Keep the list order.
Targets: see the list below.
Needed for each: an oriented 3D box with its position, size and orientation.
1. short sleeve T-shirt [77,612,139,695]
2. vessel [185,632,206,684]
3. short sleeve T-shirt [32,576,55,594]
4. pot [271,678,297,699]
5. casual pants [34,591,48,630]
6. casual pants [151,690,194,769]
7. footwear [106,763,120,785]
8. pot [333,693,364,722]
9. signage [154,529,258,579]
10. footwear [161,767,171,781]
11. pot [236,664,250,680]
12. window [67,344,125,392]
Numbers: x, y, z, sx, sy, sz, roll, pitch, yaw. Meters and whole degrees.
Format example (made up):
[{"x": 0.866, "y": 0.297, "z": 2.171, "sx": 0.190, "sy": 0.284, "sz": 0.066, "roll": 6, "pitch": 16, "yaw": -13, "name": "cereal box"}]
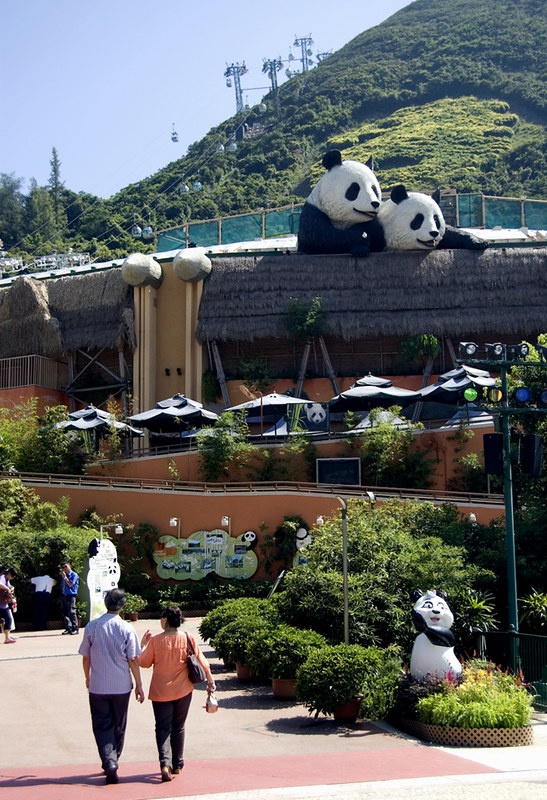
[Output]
[{"x": -1.523, "y": 2.338, "z": 15.114, "sx": 0.537, "sy": 0.737, "sz": 0.258, "roll": 2, "pitch": 7, "yaw": 0, "name": "short sleeve T-shirt"}, {"x": -0.727, "y": 2.431, "z": 15.178, "sx": 0.200, "sy": 0.472, "sz": 0.185, "roll": -3, "pitch": -3, "yaw": 12, "name": "vessel"}, {"x": -3.820, "y": 3.067, "z": 26.953, "sx": 0.385, "sy": 0.306, "sz": 0.442, "roll": -2, "pitch": -4, "yaw": -8, "name": "short sleeve T-shirt"}, {"x": 0.115, "y": 3.447, "z": 19.356, "sx": 0.308, "sy": 0.234, "sz": 0.321, "roll": 0, "pitch": -3, "yaw": 0, "name": "pot"}, {"x": -3.849, "y": 3.497, "z": 26.921, "sx": 0.253, "sy": 0.627, "sz": 0.685, "roll": -1, "pitch": -4, "yaw": -9, "name": "casual pants"}, {"x": -0.955, "y": 3.115, "z": 15.148, "sx": 0.336, "sy": 0.713, "sz": 0.350, "roll": -1, "pitch": -3, "yaw": -18, "name": "casual pants"}, {"x": -1.469, "y": 3.439, "z": 14.861, "sx": 0.067, "sy": 0.218, "sz": 0.091, "roll": 2, "pitch": 3, "yaw": -3, "name": "footwear"}, {"x": 0.838, "y": 3.462, "z": 18.209, "sx": 0.293, "sy": 0.231, "sz": 0.291, "roll": -2, "pitch": -6, "yaw": 0, "name": "pot"}, {"x": -1.247, "y": 2.849, "z": 29.679, "sx": 1.849, "sy": 0.894, "sz": 0.564, "roll": -2, "pitch": -3, "yaw": -3, "name": "signage"}, {"x": -0.986, "y": 3.457, "z": 14.976, "sx": 0.056, "sy": 0.171, "sz": 0.068, "roll": -5, "pitch": 1, "yaw": 18, "name": "footwear"}, {"x": -0.376, "y": 3.468, "z": 20.650, "sx": 0.165, "sy": 0.233, "sz": 0.281, "roll": -2, "pitch": -4, "yaw": -4, "name": "pot"}, {"x": -4.375, "y": -0.793, "z": 40.424, "sx": 2.220, "sy": 0.065, "sz": 1.595, "roll": 20, "pitch": 30, "yaw": 37, "name": "window"}]
